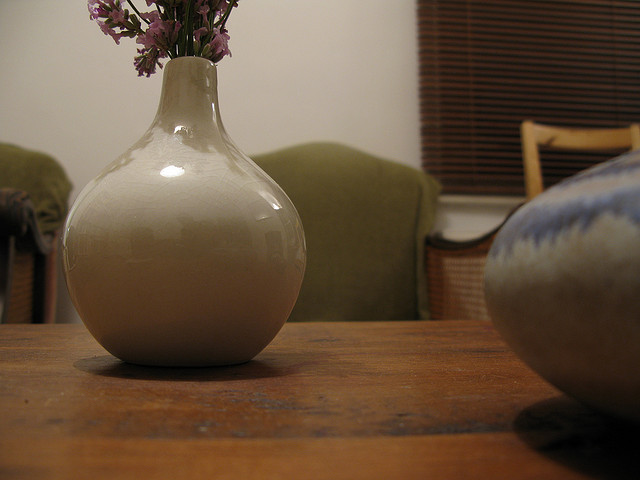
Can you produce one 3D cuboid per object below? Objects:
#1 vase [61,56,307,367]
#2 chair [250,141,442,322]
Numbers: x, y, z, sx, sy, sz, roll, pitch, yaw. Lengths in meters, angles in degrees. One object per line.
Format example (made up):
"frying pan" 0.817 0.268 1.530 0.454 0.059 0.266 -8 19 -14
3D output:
"vase" -0.127 -0.027 0.542 0.213 0.276 0.200 -1 -4 24
"chair" 0.041 0.008 1.455 0.366 0.380 0.463 0 77 -2
